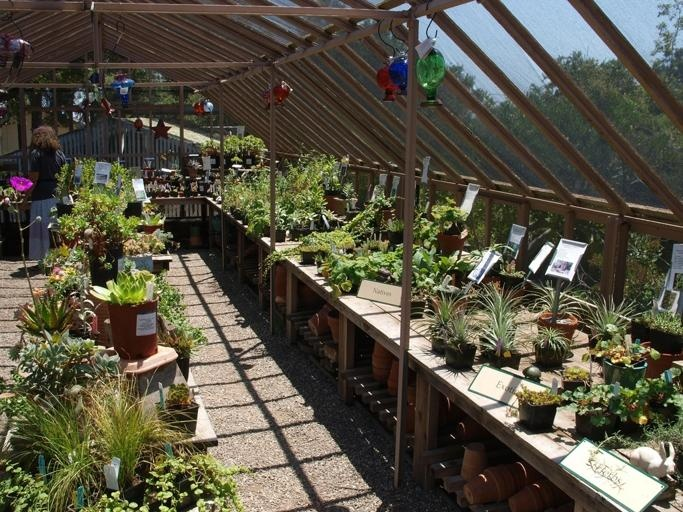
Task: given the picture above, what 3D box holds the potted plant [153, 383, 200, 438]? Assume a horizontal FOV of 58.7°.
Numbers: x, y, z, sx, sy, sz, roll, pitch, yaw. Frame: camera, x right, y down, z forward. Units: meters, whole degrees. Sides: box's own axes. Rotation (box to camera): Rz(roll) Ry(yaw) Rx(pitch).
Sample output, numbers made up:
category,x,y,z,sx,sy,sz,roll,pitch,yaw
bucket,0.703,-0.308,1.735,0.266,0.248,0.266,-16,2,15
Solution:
category,x,y,z,sx,sy,sz,roll,pitch,yaw
potted plant,-1.095,0.940,4.075,0.268,0.469,0.329,-4,21,-31
